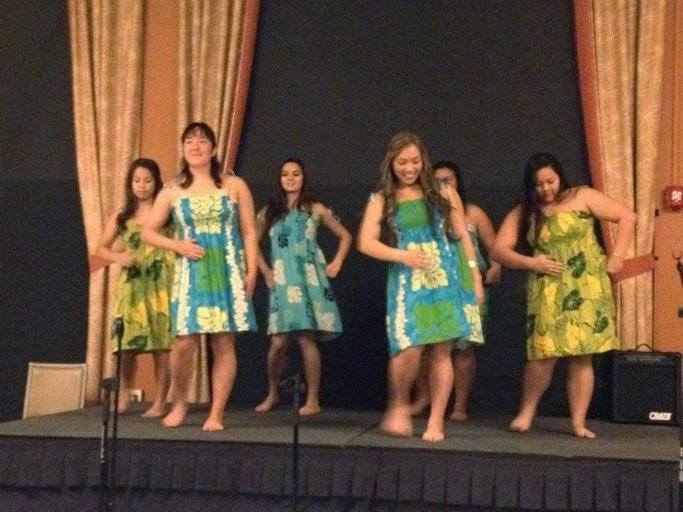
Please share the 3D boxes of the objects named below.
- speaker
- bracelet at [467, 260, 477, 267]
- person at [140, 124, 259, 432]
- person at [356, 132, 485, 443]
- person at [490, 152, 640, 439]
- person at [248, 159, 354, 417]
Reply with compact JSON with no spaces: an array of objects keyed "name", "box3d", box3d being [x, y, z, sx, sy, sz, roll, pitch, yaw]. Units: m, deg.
[{"name":"speaker","box3d":[1.832,0.768,4.965,0.544,0.665,0.401,-1,-6,13]},{"name":"bracelet","box3d":[0.733,0.046,4.443,0.037,0.023,0.039,0,2,30]},{"name":"person","box3d":[-0.801,0.101,4.581,0.646,1.741,0.287,1,-3,13]},{"name":"person","box3d":[0.430,0.154,4.405,0.685,1.669,0.289,1,-3,10]},{"name":"person","box3d":[1.262,0.209,4.545,0.772,1.581,0.231,0,-3,18]},{"name":"person","box3d":[-0.254,0.190,5.322,0.642,1.681,0.436,2,-3,-7]}]
